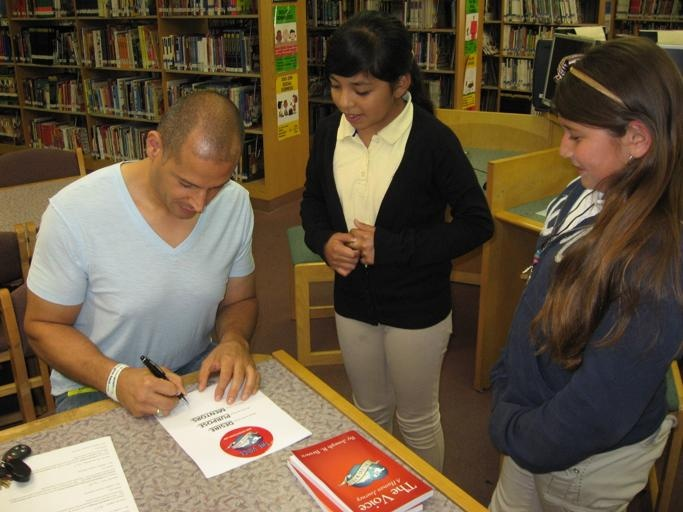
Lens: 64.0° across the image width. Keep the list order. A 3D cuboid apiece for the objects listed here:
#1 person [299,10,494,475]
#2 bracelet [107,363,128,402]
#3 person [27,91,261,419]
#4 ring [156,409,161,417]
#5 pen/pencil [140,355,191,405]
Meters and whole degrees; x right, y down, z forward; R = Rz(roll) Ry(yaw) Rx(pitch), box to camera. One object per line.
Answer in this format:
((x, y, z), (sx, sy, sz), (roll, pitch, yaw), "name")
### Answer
((0.174, -0.021, 2.006), (0.728, 1.631, 0.334), (3, 17, 18), "person")
((-0.604, 0.347, 1.474), (0.059, 0.031, 0.086), (-9, 55, -5), "bracelet")
((-0.605, 0.013, 1.585), (0.697, 0.901, 0.628), (-6, 17, -9), "person")
((-0.473, 0.405, 1.407), (0.017, 0.017, 0.030), (1, -28, -6), "ring")
((-0.489, 0.342, 1.498), (0.020, 0.132, 0.027), (-38, -7, -20), "pen/pencil")
